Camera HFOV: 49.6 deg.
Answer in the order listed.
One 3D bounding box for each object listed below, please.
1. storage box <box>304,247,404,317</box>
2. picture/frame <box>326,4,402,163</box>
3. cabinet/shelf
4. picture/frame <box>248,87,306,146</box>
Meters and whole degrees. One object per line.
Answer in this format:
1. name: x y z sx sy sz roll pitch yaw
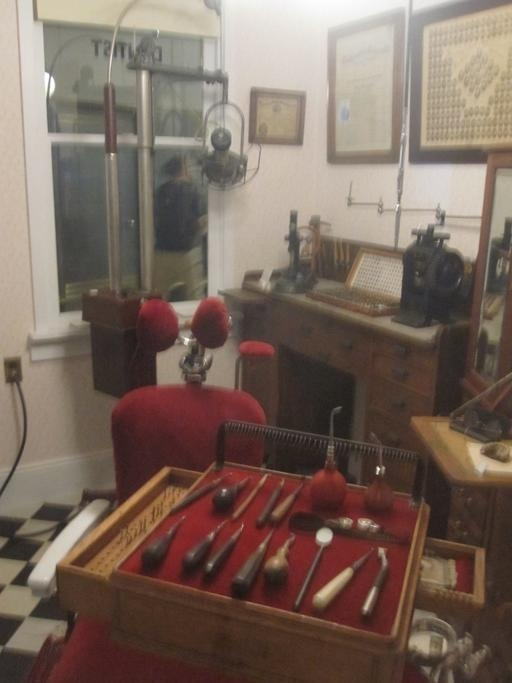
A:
1. storage box: 0.294 -0.168 1.585 0.204 0.160 0.233 -8 20 -40
2. picture/frame: 0.298 -0.692 1.540 0.207 0.369 0.200 2 15 11
3. cabinet/shelf: 0.253 0.150 1.774 0.679 0.747 0.277 14 37 34
4. picture/frame: 0.062 -0.685 1.656 0.126 0.133 0.014 1 11 -10
